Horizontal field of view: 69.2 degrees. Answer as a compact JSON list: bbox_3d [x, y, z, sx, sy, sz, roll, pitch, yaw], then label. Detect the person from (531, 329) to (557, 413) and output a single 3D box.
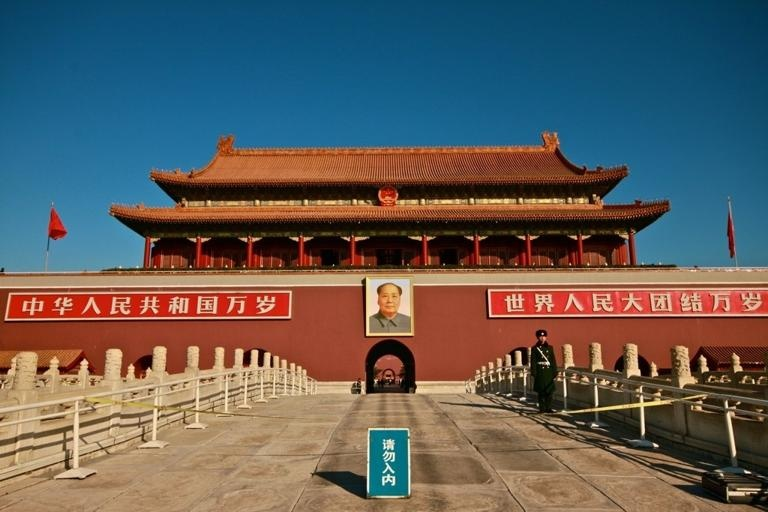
[{"bbox_3d":[4.320,3.152,15.025,0.639,2.208,1.032,-6,-13,14],"label":"person"}]
